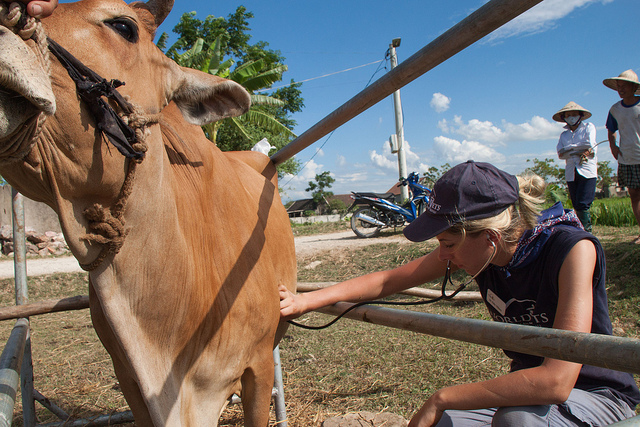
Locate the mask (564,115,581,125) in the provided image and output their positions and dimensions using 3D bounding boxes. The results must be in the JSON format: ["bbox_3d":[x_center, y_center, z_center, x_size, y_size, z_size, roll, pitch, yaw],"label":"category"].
[{"bbox_3d":[3.154,-1.160,6.541,0.166,0.111,0.087,1,11,33],"label":"mask"}]

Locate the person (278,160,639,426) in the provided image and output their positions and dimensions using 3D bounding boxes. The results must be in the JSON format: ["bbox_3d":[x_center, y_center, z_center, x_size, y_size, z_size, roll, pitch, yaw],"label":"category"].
[{"bbox_3d":[0.982,0.491,3.026,1.994,1.479,1.066,6,-11,-33],"label":"person"}]

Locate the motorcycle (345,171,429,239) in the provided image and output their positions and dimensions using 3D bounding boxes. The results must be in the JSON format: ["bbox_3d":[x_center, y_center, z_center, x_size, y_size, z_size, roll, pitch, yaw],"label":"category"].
[{"bbox_3d":[1.305,-0.153,10.518,2.134,1.388,0.908,-9,16,3],"label":"motorcycle"}]
